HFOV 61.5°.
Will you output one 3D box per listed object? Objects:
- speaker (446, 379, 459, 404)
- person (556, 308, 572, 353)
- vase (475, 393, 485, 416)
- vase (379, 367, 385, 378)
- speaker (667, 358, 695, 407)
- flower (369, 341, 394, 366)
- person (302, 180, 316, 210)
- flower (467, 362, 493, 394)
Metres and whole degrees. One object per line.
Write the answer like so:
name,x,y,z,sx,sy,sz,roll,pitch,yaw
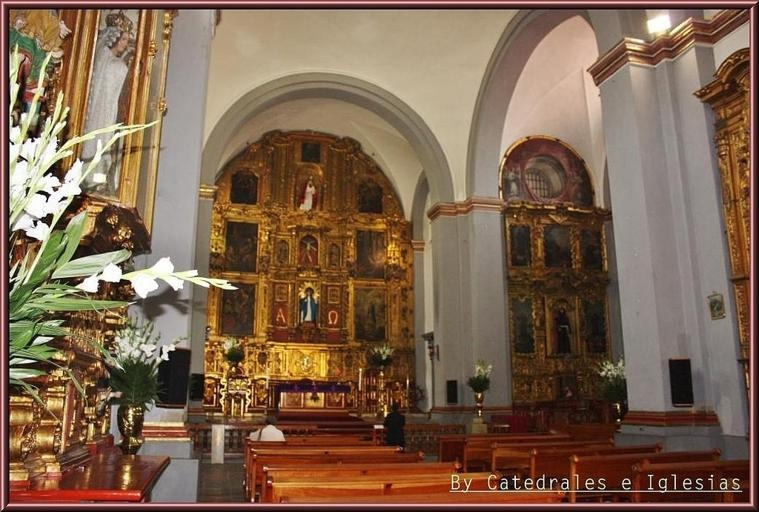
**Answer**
speaker,1.711,3.176,14.916,0.296,0.545,0.127,-1,-13,-3
person,5.352,2.160,18.406,0.545,1.305,0.220,4,-14,-24
vase,2.272,3.324,14.316,0.190,0.508,0.290,-5,-13,12
vase,0.092,3.712,20.348,0.086,0.302,0.245,-10,-15,31
speaker,4.049,1.726,8.804,0.449,0.613,0.425,-3,-10,20
flower,0.103,3.118,20.174,0.663,0.663,0.655,7,-21,-14
person,-2.385,-2.022,21.369,0.537,1.077,0.172,1,-13,-14
flower,2.286,2.731,14.405,0.511,0.694,0.533,-6,-13,16
